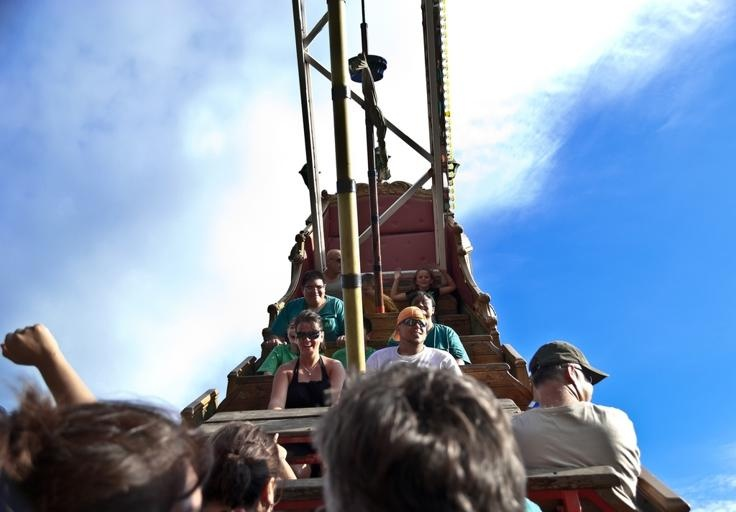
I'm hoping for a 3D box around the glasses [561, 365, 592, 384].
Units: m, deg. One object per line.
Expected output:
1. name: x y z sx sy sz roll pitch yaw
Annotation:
1. glasses: 0.941 0.544 3.145 0.111 0.059 0.085 20 -8 -17
